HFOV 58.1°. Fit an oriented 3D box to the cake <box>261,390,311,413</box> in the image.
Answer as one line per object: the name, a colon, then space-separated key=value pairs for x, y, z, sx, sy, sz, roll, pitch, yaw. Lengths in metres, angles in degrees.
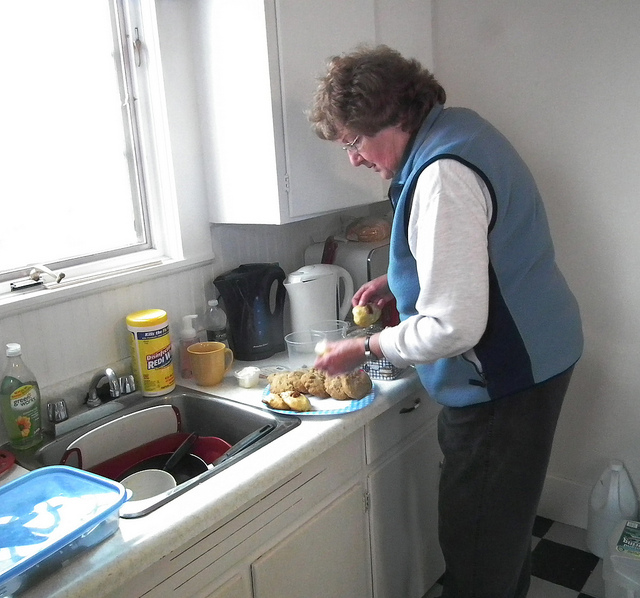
cake: x=-0.084 y=0.256 z=1.459 sx=0.073 sy=0.021 sz=0.062 roll=-4 pitch=15 yaw=0

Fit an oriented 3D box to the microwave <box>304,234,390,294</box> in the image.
microwave: x=0.105 y=-0.127 z=2.087 sx=0.192 sy=0.209 sz=0.284 roll=4 pitch=21 yaw=15

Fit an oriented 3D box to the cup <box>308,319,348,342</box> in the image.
cup: x=0.033 y=0.090 z=1.702 sx=0.077 sy=0.058 sz=0.063 roll=-1 pitch=3 yaw=-9

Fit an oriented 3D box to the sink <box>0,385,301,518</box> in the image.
sink: x=-0.448 y=0.255 z=1.402 sx=0.328 sy=0.163 sz=0.407 roll=9 pitch=15 yaw=30

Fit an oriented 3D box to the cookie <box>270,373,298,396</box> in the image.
cookie: x=-0.107 y=0.226 z=1.540 sx=0.047 sy=0.013 sz=0.047 roll=-22 pitch=30 yaw=-32

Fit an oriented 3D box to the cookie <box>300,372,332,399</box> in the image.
cookie: x=-0.020 y=0.227 z=1.536 sx=0.059 sy=0.016 sz=0.064 roll=32 pitch=13 yaw=33

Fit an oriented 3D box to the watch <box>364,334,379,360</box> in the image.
watch: x=0.107 y=0.104 z=1.317 sx=0.030 sy=0.050 sz=0.051 roll=-11 pitch=-29 yaw=-7

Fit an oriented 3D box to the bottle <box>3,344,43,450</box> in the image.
bottle: x=-0.711 y=0.240 z=1.367 sx=0.082 sy=0.220 sz=0.055 roll=-15 pitch=17 yaw=-36

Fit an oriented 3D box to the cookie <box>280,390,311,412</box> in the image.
cookie: x=-0.068 y=0.258 z=1.469 sx=0.054 sy=0.031 sz=0.097 roll=-16 pitch=18 yaw=-38

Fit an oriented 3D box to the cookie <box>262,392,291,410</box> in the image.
cookie: x=-0.116 y=0.251 z=1.468 sx=0.055 sy=0.014 sz=0.037 roll=27 pitch=0 yaw=15

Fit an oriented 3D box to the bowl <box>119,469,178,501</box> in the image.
bowl: x=-0.400 y=0.424 z=1.336 sx=0.101 sy=0.031 sz=0.088 roll=-13 pitch=17 yaw=-30

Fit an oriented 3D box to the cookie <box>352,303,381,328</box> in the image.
cookie: x=0.135 y=0.043 z=1.560 sx=0.053 sy=0.043 sz=0.073 roll=-7 pitch=-1 yaw=-2

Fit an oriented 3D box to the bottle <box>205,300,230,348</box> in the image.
bottle: x=-0.326 y=0.074 z=1.797 sx=0.070 sy=0.137 sz=0.147 roll=-7 pitch=14 yaw=-10
